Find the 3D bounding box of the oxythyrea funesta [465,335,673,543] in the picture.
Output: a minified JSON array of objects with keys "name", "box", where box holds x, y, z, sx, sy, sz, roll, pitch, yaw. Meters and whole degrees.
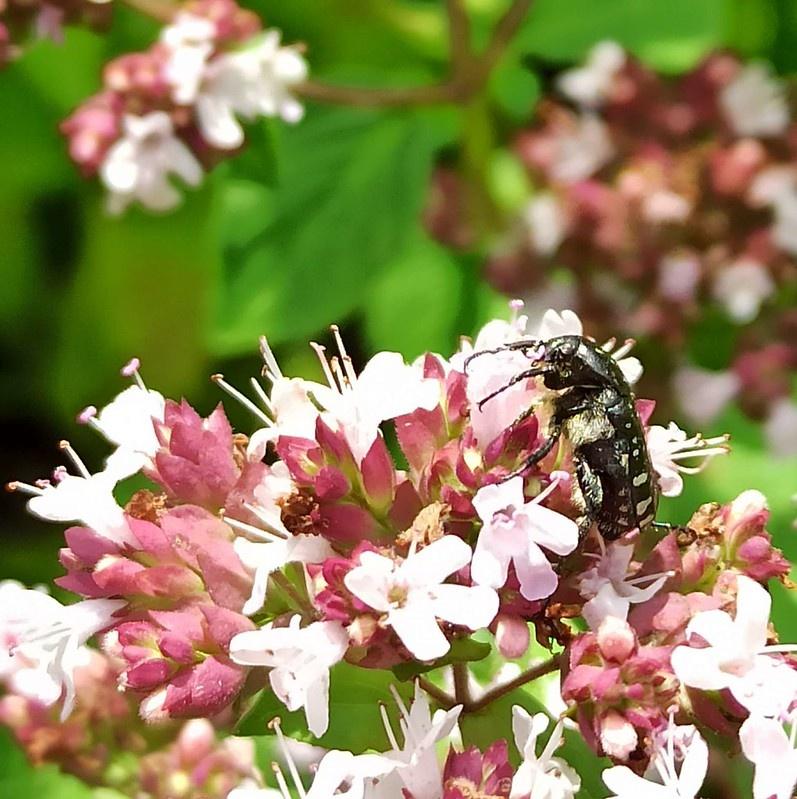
[{"name":"oxythyrea funesta","box":[0.365,0.065,2.200,0.140,0.412,0.306,-39,20,20]}]
